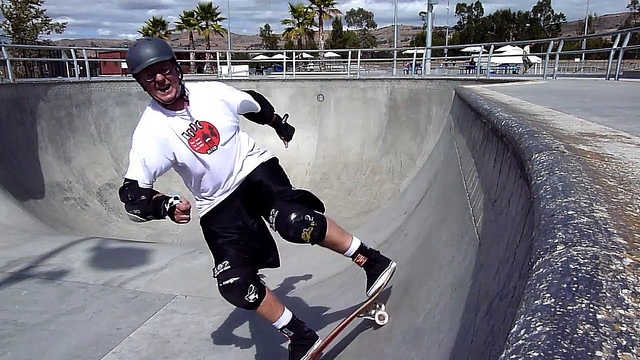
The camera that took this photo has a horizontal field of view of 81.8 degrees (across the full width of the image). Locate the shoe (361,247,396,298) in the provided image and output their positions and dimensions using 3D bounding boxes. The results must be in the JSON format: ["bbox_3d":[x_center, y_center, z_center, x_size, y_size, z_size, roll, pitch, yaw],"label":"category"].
[{"bbox_3d":[0.529,0.813,3.240,0.280,0.441,0.170,-4,18,-1],"label":"shoe"}]

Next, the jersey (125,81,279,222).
[{"bbox_3d":[-1.043,-0.272,3.456,0.998,1.308,0.614,-35,-21,-7],"label":"jersey"}]

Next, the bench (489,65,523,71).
[{"bbox_3d":[9.983,-5.949,19.237,1.019,0.346,8.668,5,16,27],"label":"bench"}]

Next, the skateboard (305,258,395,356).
[{"bbox_3d":[0.324,1.334,3.783,0.261,0.325,1.428,27,47,32],"label":"skateboard"}]
